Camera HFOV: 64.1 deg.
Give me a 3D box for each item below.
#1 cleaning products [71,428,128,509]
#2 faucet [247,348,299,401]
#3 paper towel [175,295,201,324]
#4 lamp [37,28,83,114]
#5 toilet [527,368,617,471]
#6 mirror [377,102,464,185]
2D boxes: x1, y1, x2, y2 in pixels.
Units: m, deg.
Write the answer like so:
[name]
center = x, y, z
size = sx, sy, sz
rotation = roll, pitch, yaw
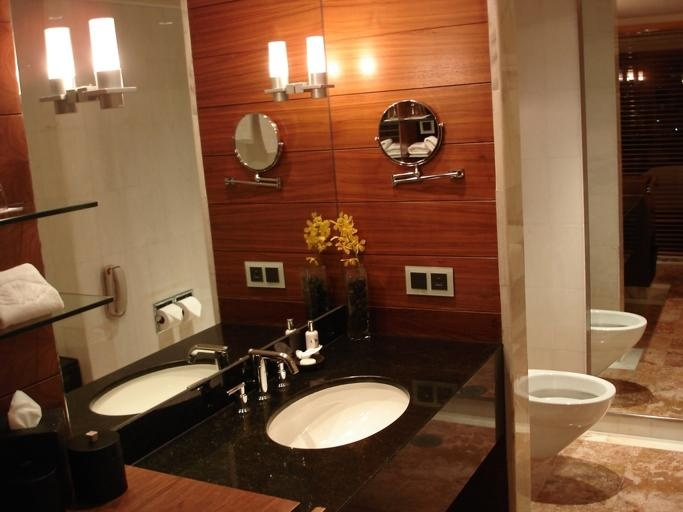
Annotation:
[cleaning products]
center = -0.571, 0.483, 1.270
size = 0.110, 0.157, 0.097
rotation = -10, 15, -28
[faucet]
center = -0.213, 0.389, 1.929
size = 0.188, 0.176, 0.152
rotation = 3, 11, 22
[paper towel]
center = -0.481, 0.170, 1.742
size = 0.059, 0.066, 0.066
rotation = -12, 11, 4
[lamp]
center = -0.711, -0.467, 1.366
size = 0.026, 0.211, 0.108
rotation = 3, 14, 21
[toilet]
center = 1.204, 0.876, 2.890
size = 0.412, 0.424, 0.522
rotation = 2, 13, 18
[mirror]
center = 0.336, -0.472, 2.241
size = 0.360, 0.346, 0.052
rotation = 1, 19, 16
